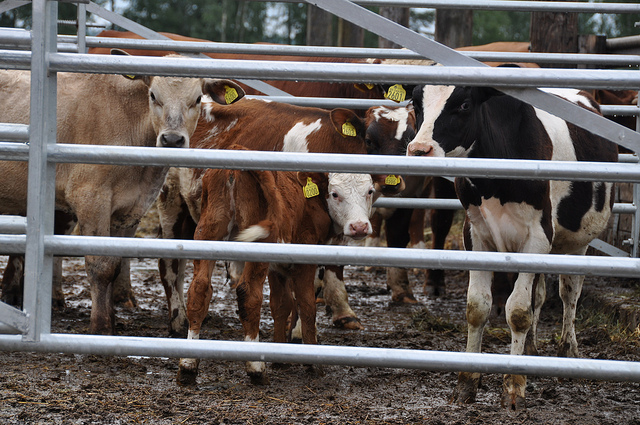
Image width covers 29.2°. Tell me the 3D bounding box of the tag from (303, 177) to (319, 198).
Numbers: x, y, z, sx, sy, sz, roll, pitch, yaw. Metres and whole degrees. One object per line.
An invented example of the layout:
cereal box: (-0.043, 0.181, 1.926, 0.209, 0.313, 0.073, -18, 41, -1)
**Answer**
tag: (-0.101, -0.207, 10.615, 0.102, 0.148, 0.051, -4, 3, -13)

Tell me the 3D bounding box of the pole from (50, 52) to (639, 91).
pole: (0.182, -1.009, 8.796, 4.145, 0.152, 0.174, 2, 12, -1)

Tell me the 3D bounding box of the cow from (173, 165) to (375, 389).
cow: (-0.439, 0.482, 10.535, 1.861, 1.727, 0.816, -8, 15, -39)

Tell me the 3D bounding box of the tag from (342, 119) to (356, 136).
tag: (0.232, -0.764, 10.943, 0.130, 0.155, 0.011, 7, -14, -31)

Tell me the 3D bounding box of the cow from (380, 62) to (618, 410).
cow: (1.609, 0.190, 10.587, 1.217, 2.853, 3.485, 1, 2, 32)

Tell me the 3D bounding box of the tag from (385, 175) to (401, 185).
tag: (0.610, -0.289, 10.840, 0.087, 0.089, 0.026, 4, -4, 17)

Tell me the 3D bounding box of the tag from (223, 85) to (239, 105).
tag: (-0.829, -1.065, 11.111, 0.140, 0.141, 0.038, 23, 26, 16)
